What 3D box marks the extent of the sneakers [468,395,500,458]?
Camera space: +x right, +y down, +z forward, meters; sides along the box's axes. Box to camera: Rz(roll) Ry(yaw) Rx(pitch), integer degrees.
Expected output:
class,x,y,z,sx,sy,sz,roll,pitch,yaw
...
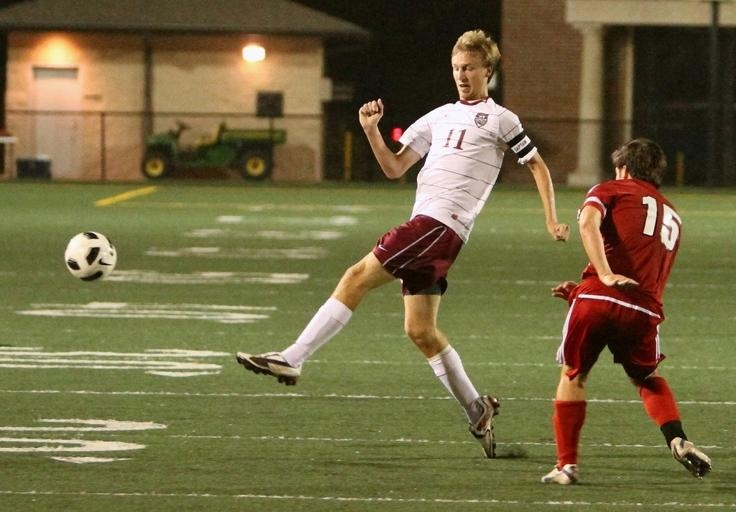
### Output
class,x,y,z,sx,sy,sz,roll,pitch,yaw
sneakers,1.047,1.463,12.248,0.241,0.550,0.296,6,31,29

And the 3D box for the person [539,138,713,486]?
class,x,y,z,sx,sy,sz,roll,pitch,yaw
person,2.137,0.468,11.817,1.034,2.810,0.998,3,16,7

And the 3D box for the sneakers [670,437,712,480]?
class,x,y,z,sx,sy,sz,roll,pitch,yaw
sneakers,2.659,1.648,11.559,0.417,0.216,0.165,37,9,17
